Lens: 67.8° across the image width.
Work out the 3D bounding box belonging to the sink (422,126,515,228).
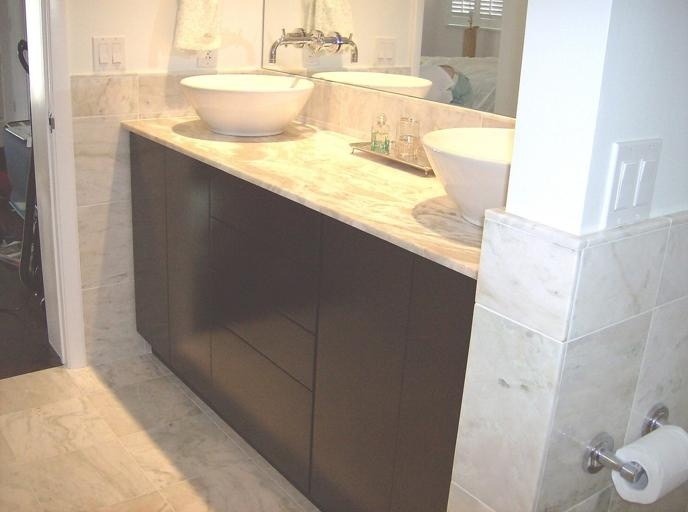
[{"bbox_3d":[0.326,-0.227,1.330,0.287,0.146,0.347,16,25,29],"label":"sink"}]

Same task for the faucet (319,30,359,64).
[{"bbox_3d":[-0.018,-0.908,2.209,0.196,0.160,0.091,-2,22,-13],"label":"faucet"}]
